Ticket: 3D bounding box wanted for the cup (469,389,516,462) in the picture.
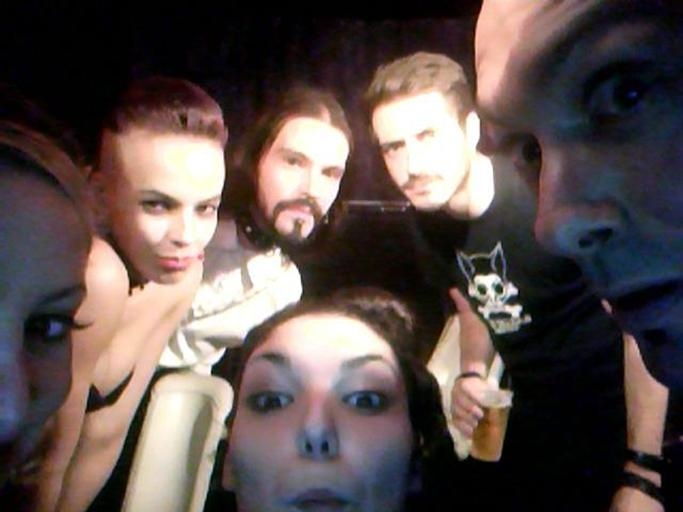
[{"bbox_3d":[0.632,0.701,3.048,0.226,0.383,0.240,4,-10,1],"label":"cup"}]
